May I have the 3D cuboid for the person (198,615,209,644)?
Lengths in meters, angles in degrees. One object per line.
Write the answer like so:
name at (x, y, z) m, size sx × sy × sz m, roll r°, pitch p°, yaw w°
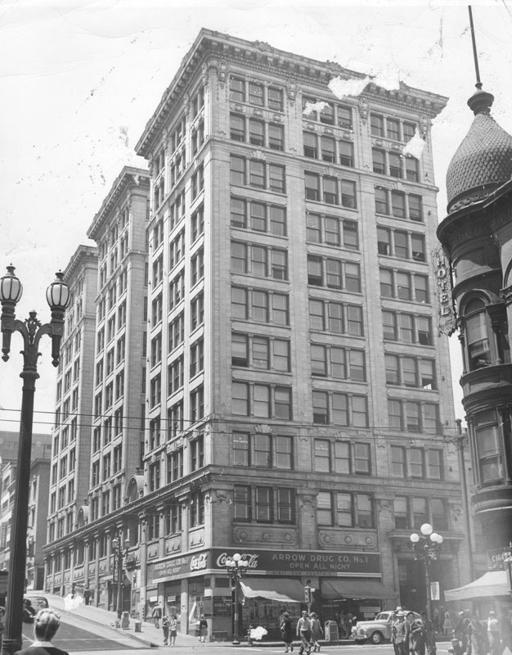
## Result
person at (-2.906, 16.620, 62.574) m, size 0.505 × 1.484 × 1.535 m, roll -2°, pitch -21°, yaw -4°
